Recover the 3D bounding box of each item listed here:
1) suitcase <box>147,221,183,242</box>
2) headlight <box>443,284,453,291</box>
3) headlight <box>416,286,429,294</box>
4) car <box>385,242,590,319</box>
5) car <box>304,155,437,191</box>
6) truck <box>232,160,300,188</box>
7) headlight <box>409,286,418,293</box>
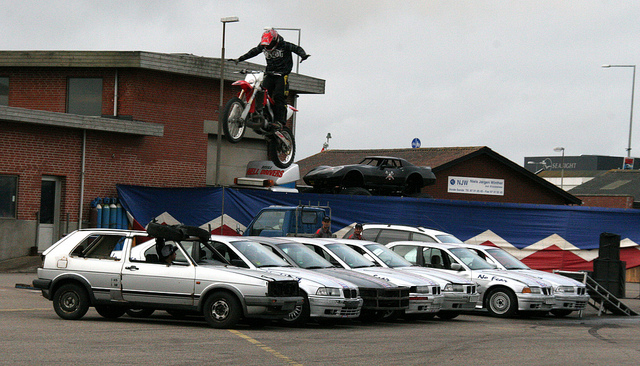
[{"bbox_3d":[-5.281,1.672,40.144,1.042,0.292,0.681,7,-2,-5],"label":"suitcase"},{"bbox_3d":[4.804,3.864,42.939,0.279,0.134,0.250,1,-2,16],"label":"headlight"},{"bbox_3d":[3.779,3.847,42.128,0.435,0.228,0.280,1,-1,-18],"label":"headlight"},{"bbox_3d":[5.474,3.577,46.313,8.491,1.974,3.530,4,6,31],"label":"car"},{"bbox_3d":[2.597,-0.419,57.466,5.467,1.098,2.349,4,-7,-34],"label":"car"},{"bbox_3d":[-2.467,-0.718,56.975,2.290,1.643,4.781,1,-1,-10],"label":"truck"},{"bbox_3d":[3.418,3.843,42.001,0.485,0.198,0.242,-3,2,2],"label":"headlight"}]
